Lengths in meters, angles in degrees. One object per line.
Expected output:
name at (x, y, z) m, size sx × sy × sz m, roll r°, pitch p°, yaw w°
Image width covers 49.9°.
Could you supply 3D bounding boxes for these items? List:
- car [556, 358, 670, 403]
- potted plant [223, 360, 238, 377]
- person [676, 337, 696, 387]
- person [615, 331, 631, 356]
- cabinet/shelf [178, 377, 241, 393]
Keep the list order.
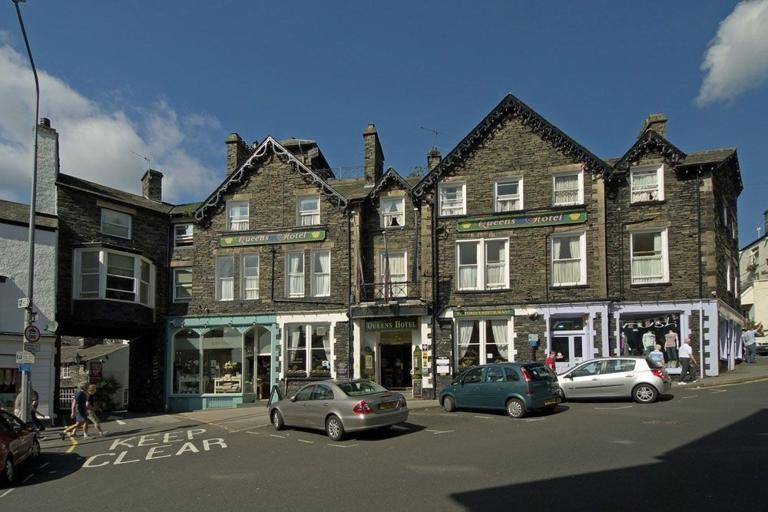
car at (10.732, 5.495, 37.915) m, size 4.281 × 1.634 × 2.375 m, roll -2°, pitch -8°, yaw 23°
potted plant at (-8.903, 6.472, 47.787) m, size 0.813 × 0.828 × 0.817 m, roll 2°, pitch -9°, yaw -9°
person at (15.067, 5.169, 40.834) m, size 0.805 × 1.950 × 1.413 m, roll -1°, pitch 8°, yaw 20°
person at (12.372, 4.454, 42.568) m, size 0.450 × 1.159 × 0.848 m, roll 2°, pitch 10°, yaw 36°
cabinet/shelf at (-10.085, 7.438, 47.899) m, size 3.778 × 0.855 × 0.310 m, roll -2°, pitch 8°, yaw 13°
